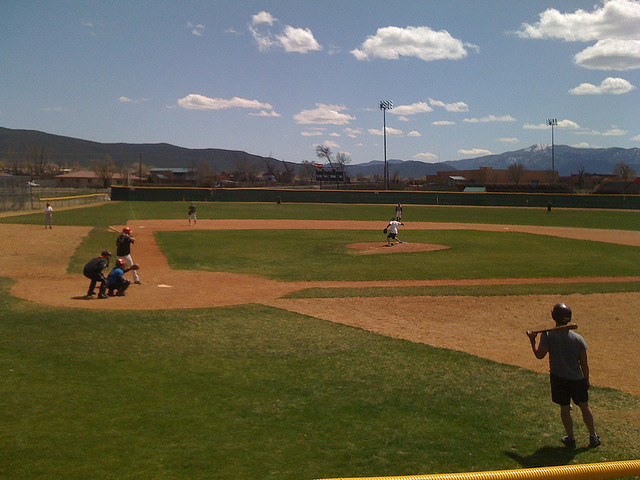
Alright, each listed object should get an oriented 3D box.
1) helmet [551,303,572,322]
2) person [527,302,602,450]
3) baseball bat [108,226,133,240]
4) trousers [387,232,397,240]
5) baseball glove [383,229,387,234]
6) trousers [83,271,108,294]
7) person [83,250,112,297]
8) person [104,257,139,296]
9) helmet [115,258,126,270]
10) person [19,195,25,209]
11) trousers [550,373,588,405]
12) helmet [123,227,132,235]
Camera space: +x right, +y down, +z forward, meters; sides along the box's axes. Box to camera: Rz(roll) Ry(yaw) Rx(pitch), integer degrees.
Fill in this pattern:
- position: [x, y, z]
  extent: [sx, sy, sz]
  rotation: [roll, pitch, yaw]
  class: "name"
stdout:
- position: [4.508, 1.367, 12.882]
  extent: [0.320, 0.411, 0.372]
  rotation: [6, 13, 16]
  class: "helmet"
- position: [4.565, 2.483, 12.776]
  extent: [1.347, 2.536, 0.652]
  rotation: [8, 14, 23]
  class: "person"
- position: [-8.610, -0.271, 29.544]
  extent: [1.681, 0.121, 0.165]
  rotation: [25, -6, 38]
  class: "baseball bat"
- position: [3.586, -0.208, 34.441]
  extent: [0.325, 0.391, 0.777]
  rotation: [3, 13, 4]
  class: "trousers"
- position: [3.673, -0.469, 38.988]
  extent: [0.268, 0.259, 0.144]
  rotation: [3, 21, 9]
  class: "baseball glove"
- position: [-6.427, 1.197, 19.869]
  extent: [0.529, 0.750, 0.854]
  rotation: [0, 13, -12]
  class: "trousers"
- position: [-6.375, 0.978, 19.825]
  extent: [0.835, 1.379, 0.758]
  rotation: [16, -9, -26]
  class: "person"
- position: [-5.907, 1.120, 20.805]
  extent: [0.749, 1.036, 1.136]
  rotation: [2, 0, 28]
  class: "person"
- position: [-6.091, 0.775, 20.854]
  extent: [0.324, 0.340, 0.388]
  rotation: [4, 13, 5]
  class: "helmet"
- position: [-24.045, -3.040, 55.620]
  extent: [0.374, 1.150, 1.534]
  rotation: [-3, 14, -23]
  class: "person"
- position: [4.603, 2.798, 12.816]
  extent: [0.682, 0.503, 0.196]
  rotation: [7, 13, 19]
  class: "trousers"
- position: [-6.019, -0.244, 21.709]
  extent: [0.313, 0.280, 0.232]
  rotation: [-5, 14, -27]
  class: "helmet"
